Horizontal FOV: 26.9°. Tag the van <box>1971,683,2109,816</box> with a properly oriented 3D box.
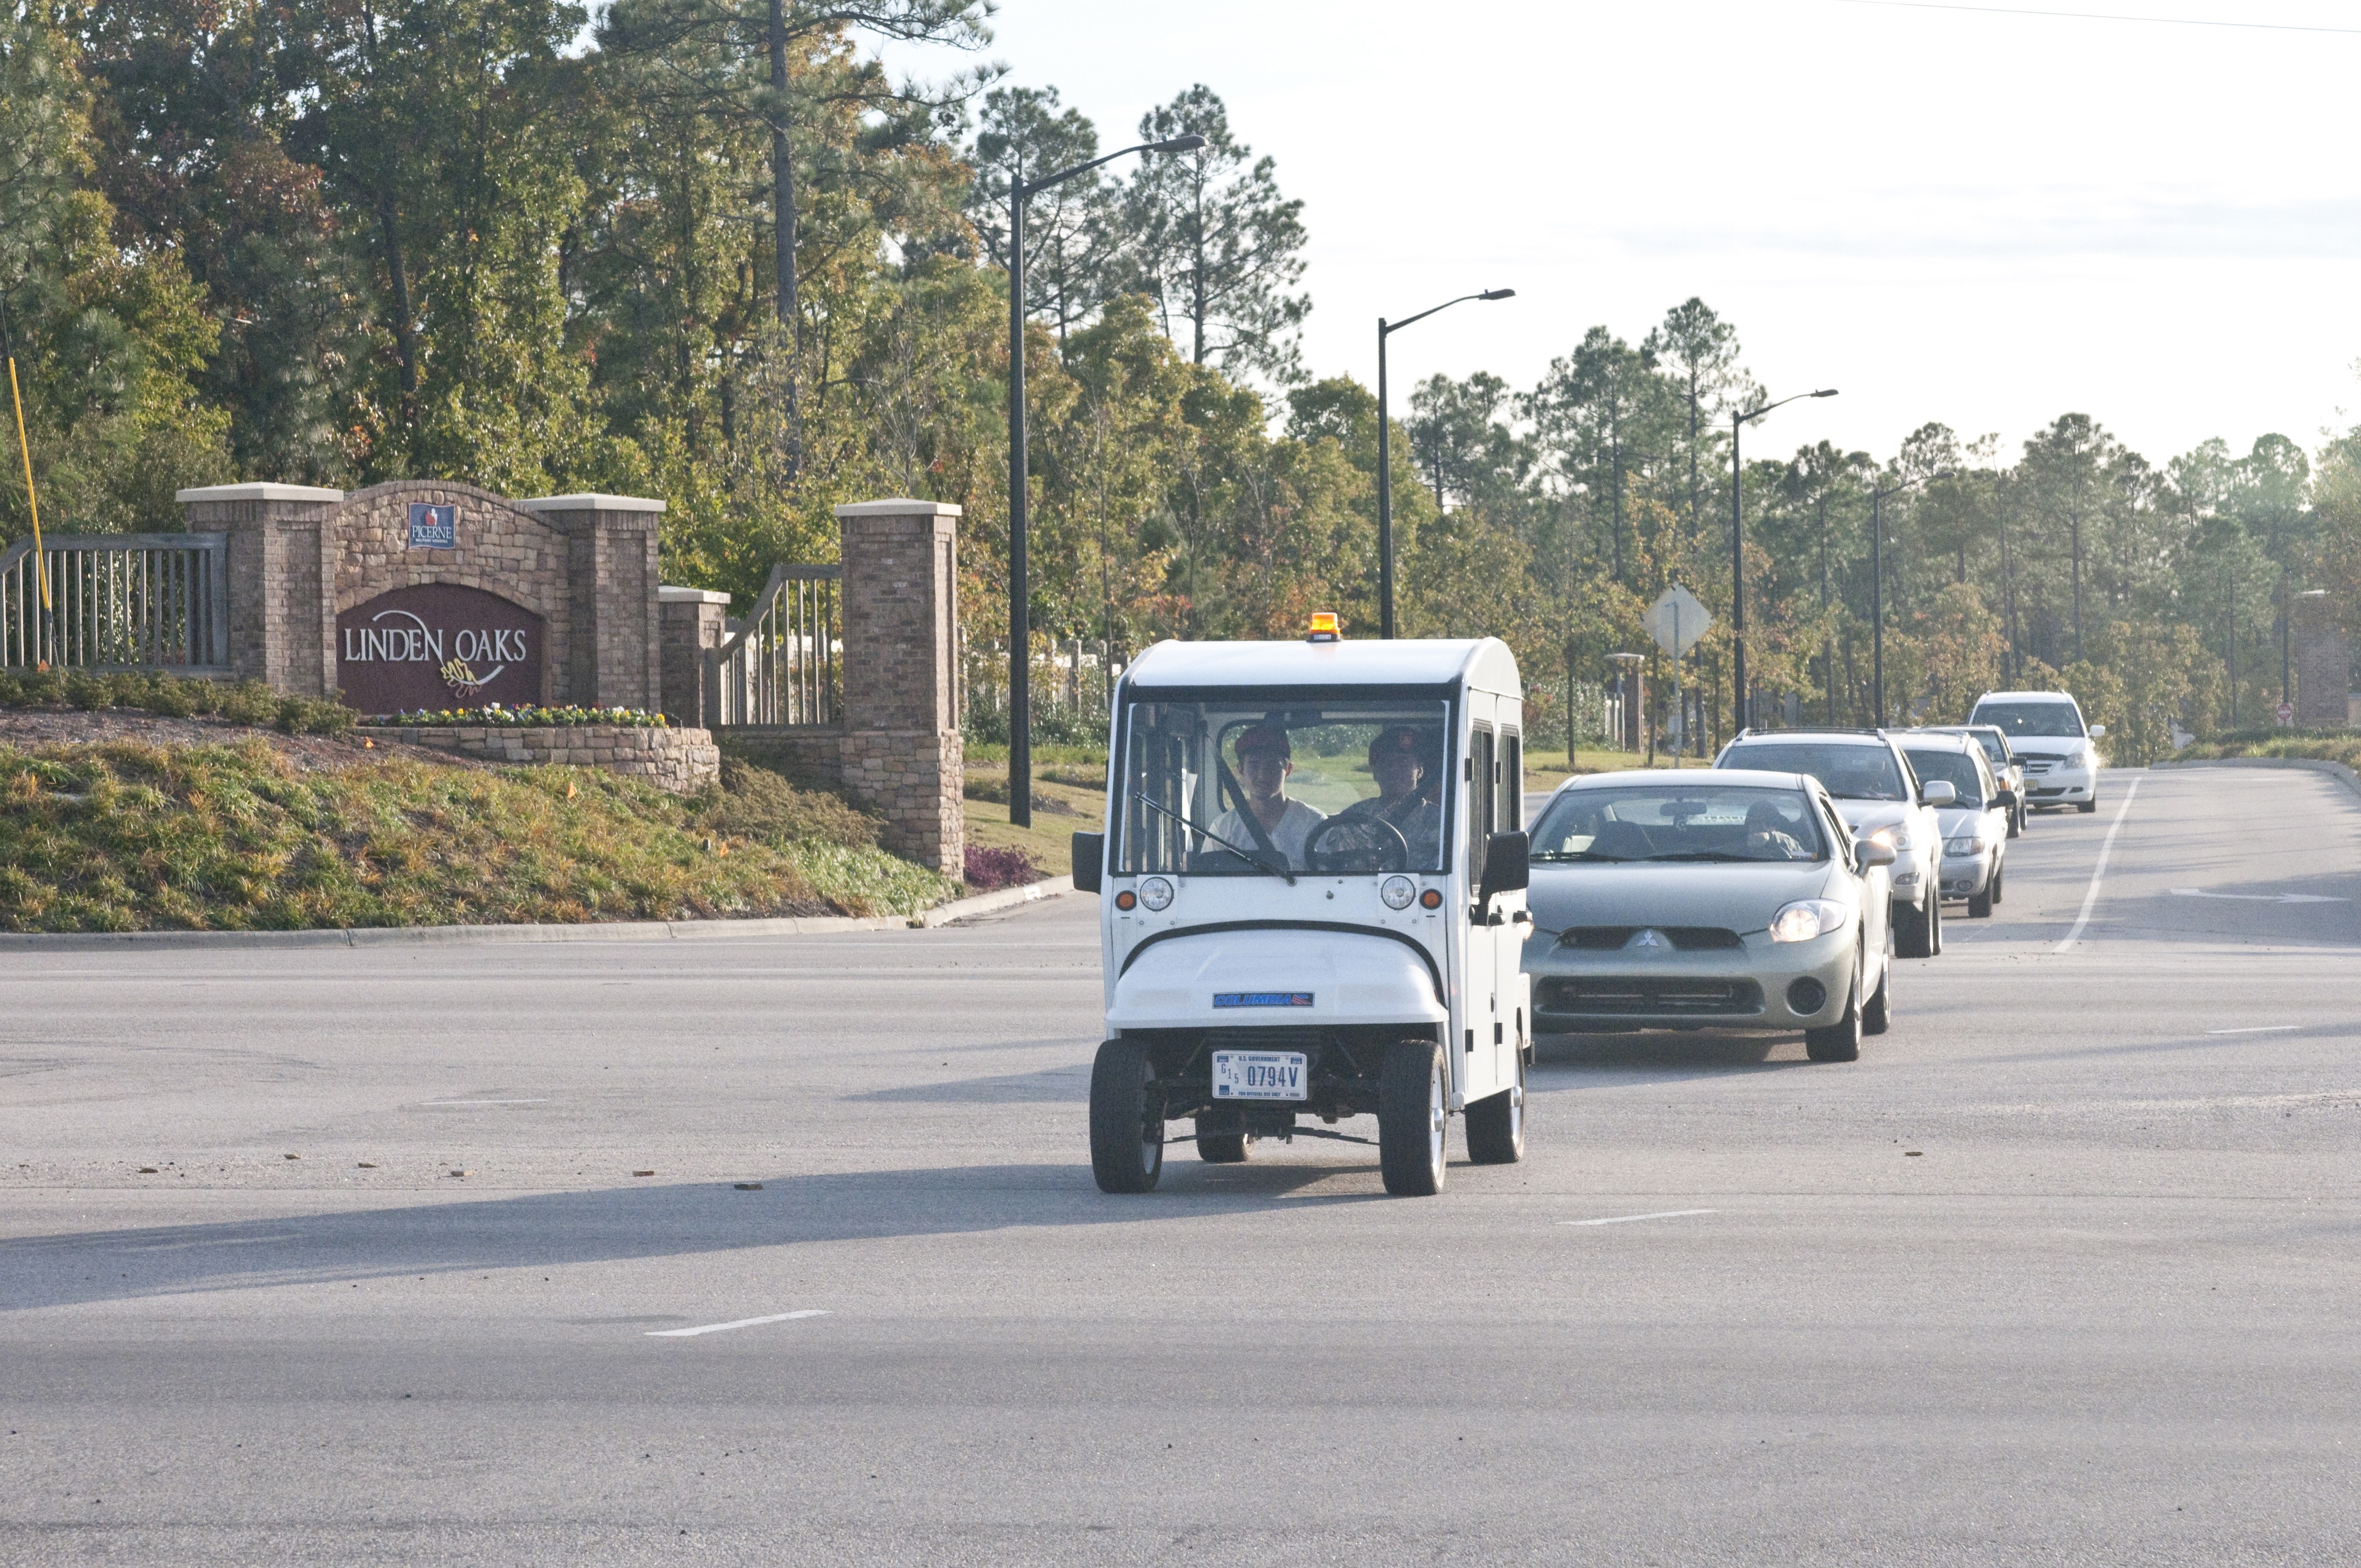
[{"bbox_3d":[16.202,-0.630,91.734,1.762,1.411,2.914,-1,-5,10],"label":"van"}]

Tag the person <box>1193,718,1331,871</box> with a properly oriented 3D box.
[{"bbox_3d":[0.941,0.149,50.168,1.513,1.467,0.841,-1,0,-5],"label":"person"}]
